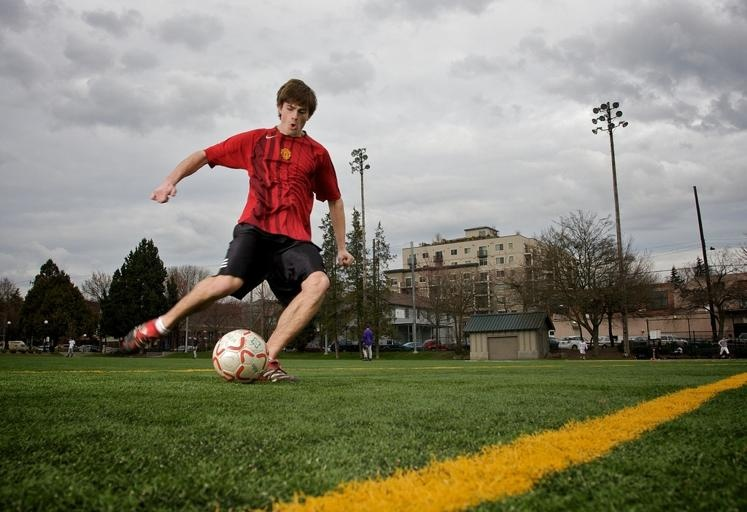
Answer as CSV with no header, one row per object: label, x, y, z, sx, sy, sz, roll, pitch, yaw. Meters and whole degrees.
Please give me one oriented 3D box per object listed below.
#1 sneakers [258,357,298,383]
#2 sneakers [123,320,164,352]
sneakers,-0.982,1.103,5.360,0.438,0.195,0.154,-3,-9,20
sneakers,-1.892,0.648,4.599,0.348,0.258,0.227,1,-8,-11
